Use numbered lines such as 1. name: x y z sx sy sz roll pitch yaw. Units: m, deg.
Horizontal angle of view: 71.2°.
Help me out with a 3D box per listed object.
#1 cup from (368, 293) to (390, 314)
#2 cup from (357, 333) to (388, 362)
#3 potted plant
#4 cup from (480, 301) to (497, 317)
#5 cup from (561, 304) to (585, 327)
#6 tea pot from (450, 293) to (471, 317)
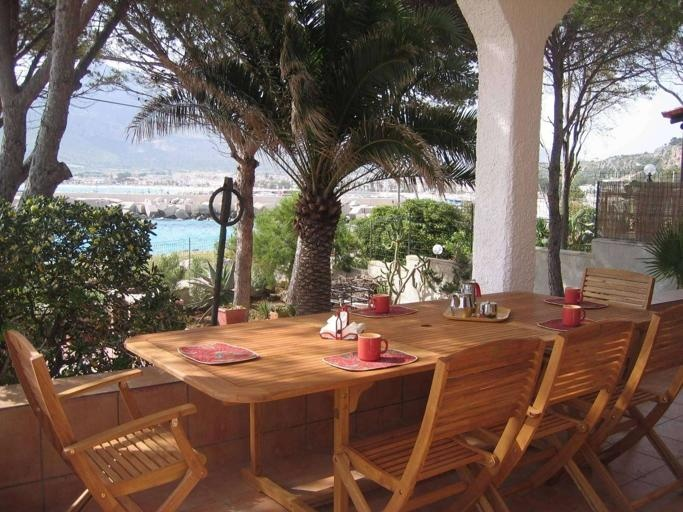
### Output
1. cup: 0.256 0.293 3.004 0.138 0.103 0.087 -12 18 -37
2. cup: 0.132 0.396 2.069 0.137 0.098 0.087 0 1 -34
3. potted plant: -2.138 0.641 8.222 0.968 1.010 0.928 -6 -8 4
4. cup: 0.884 0.312 2.820 0.082 0.083 0.084 0 1 0
5. cup: 1.326 0.330 2.654 0.134 0.107 0.101 0 4 3
6. tea pot: 0.731 0.298 2.883 0.089 0.136 0.139 1 1 42
